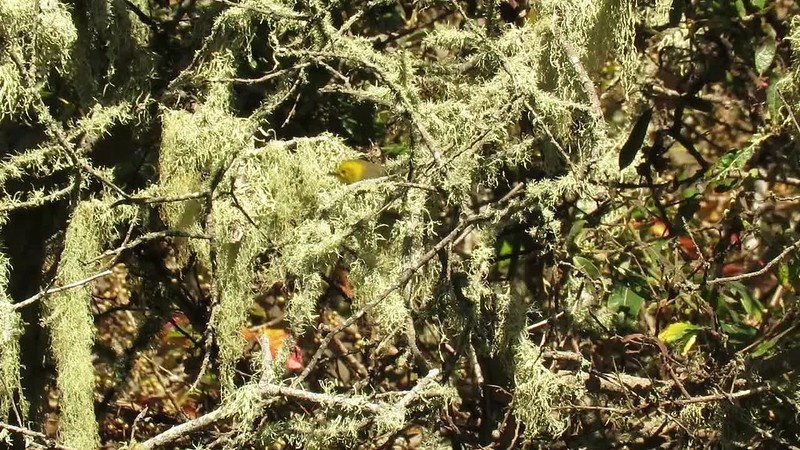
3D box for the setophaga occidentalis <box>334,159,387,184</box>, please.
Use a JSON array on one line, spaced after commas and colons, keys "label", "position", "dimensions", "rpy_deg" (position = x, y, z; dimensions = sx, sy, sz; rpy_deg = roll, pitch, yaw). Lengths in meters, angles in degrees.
[{"label": "setophaga occidentalis", "position": [-0.082, -0.109, 1.789], "dimensions": [0.058, 0.027, 0.073], "rpy_deg": [-12, 8, -35]}]
